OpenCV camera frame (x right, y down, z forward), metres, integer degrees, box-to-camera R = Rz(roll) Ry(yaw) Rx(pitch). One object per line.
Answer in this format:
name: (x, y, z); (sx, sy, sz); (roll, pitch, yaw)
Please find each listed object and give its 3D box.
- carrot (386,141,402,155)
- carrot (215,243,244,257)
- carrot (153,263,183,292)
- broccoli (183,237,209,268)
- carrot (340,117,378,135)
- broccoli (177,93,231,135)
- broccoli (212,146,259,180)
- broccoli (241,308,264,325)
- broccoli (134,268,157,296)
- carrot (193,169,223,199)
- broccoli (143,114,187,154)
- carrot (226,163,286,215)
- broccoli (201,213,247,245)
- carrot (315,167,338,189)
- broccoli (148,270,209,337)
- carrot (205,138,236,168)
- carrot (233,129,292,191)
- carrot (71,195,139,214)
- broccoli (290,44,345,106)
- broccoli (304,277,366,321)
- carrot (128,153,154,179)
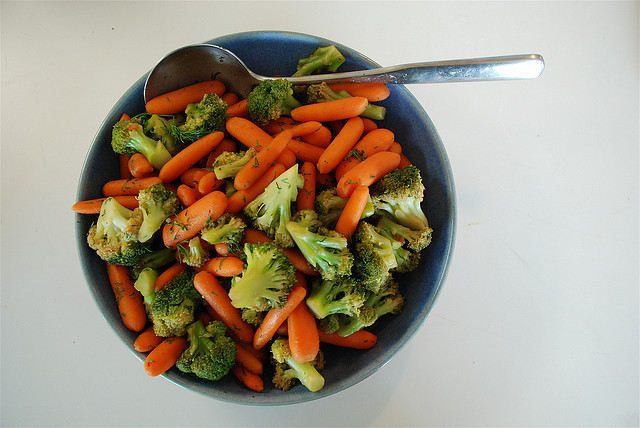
carrot: (0.613, -0.525, 4.444); (0.094, 0.098, 0.114); (8, 54, -3)
carrot: (-0.700, 0.291, 4.140); (0.196, 0.098, 0.096); (21, -4, -5)
carrot: (-1.190, 0.505, 4.236); (0.299, 0.105, 0.098); (-42, 8, -17)
broccoli: (-0.942, 0.289, 4.209); (0.204, 0.220, 0.213); (-21, 20, -38)
carrot: (0.328, -0.730, 4.454); (0.273, 0.091, 0.135); (13, 40, -9)
broccoli: (-0.896, -0.802, 4.267); (0.375, 0.307, 0.210); (-6, -16, 10)
broccoli: (-0.669, -0.414, 4.176); (0.333, 0.123, 0.210); (-45, 53, -15)
broccoli: (-0.508, 0.808, 4.109); (0.131, 0.060, 0.144); (9, 42, -23)
broccoli: (-1.354, 0.542, 4.188); (0.154, 0.206, 0.074); (20, 0, 3)
carrot: (-0.925, -0.214, 4.289); (0.191, 0.244, 0.135); (3, -3, -2)
broccoli: (-1.265, -0.633, 4.422); (0.316, 0.314, 0.114); (-52, -1, -12)
carrot: (-0.494, -0.183, 4.137); (0.524, 0.121, 0.121); (-41, 51, -1)
broccoli: (-0.722, 0.144, 4.065); (0.263, 0.234, 0.086); (-19, 6, -29)
carrot: (0.047, -0.279, 4.458); (0.104, 0.213, 0.111); (-48, 11, 48)
broccoli: (-1.050, 0.773, 4.254); (0.229, 0.338, 0.478); (37, 30, 22)
carrot: (-0.792, -0.515, 4.379); (0.138, 0.138, 0.313); (33, 73, 7)
carrot: (-0.443, -0.399, 4.170); (0.638, 0.170, 0.163); (-44, 47, 4)
carrot: (-1.718, -0.069, 4.229); (0.588, 0.122, 0.126); (-6, 15, 4)
broccoli: (0.011, -1.153, 4.506); (0.345, 0.520, 0.250); (29, -2, 21)
broccoli: (0.115, 0.664, 4.107); (0.370, 0.357, 0.238); (-4, 5, 8)
carrot: (-1.429, -0.375, 4.245); (0.178, 0.182, 0.216); (-7, 52, -32)
